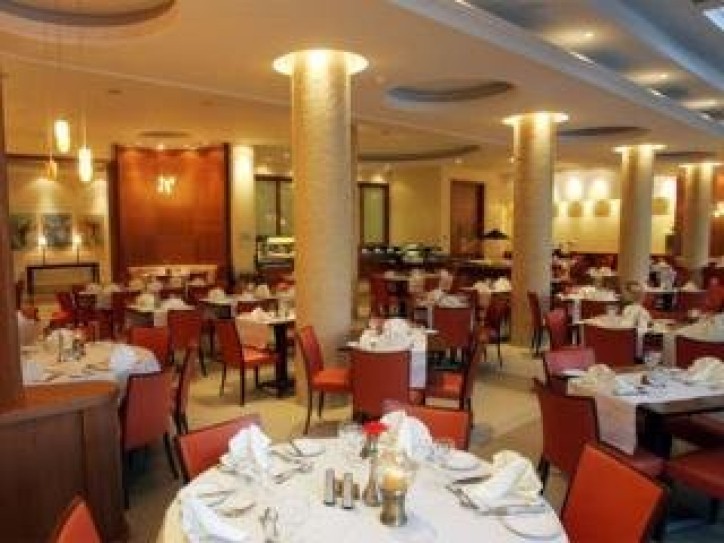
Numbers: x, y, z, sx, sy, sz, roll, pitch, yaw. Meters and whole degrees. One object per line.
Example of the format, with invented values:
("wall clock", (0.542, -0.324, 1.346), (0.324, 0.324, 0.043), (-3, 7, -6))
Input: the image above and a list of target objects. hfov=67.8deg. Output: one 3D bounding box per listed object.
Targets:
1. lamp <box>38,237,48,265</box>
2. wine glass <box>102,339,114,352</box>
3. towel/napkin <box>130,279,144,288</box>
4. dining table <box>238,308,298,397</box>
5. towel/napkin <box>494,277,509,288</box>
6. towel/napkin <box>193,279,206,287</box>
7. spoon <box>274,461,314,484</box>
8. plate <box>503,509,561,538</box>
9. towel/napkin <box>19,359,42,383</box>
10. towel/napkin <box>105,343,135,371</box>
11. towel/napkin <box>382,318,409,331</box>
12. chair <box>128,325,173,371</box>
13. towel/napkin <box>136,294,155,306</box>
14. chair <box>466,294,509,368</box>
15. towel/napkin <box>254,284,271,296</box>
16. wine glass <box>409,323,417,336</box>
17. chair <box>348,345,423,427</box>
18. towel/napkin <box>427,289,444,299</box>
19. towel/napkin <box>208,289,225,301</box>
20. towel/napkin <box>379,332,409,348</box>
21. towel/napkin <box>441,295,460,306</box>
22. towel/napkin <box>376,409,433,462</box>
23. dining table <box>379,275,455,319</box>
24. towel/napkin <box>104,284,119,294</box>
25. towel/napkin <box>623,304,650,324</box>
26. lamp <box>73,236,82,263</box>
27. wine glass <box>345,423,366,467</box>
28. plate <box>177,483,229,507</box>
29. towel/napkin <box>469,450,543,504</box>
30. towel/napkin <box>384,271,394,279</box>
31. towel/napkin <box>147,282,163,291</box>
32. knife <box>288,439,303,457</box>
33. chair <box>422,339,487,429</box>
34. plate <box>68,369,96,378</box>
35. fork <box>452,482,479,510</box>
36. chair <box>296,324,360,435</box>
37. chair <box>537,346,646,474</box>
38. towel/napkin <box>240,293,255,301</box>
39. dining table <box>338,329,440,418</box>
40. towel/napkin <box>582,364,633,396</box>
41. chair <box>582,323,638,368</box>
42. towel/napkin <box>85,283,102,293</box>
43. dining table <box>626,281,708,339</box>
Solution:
("lamp", (-8.594, -0.604, 14.529), (0.184, 0.726, 0.181), (-6, 7, -40))
("wine glass", (-2.620, 0.759, 5.547), (0.110, 0.159, 0.102), (0, 0, 1))
("towel/napkin", (-4.111, 0.234, 9.874), (0.223, 0.107, 0.278), (2, 3, -2))
("dining table", (-0.955, 0.965, 6.976), (1.003, 0.859, 0.978), (-7, 12, -40))
("towel/napkin", (2.473, 0.203, 9.551), (0.272, 0.162, 0.477), (-1, 3, 13))
("towel/napkin", (-3.007, 0.202, 9.896), (0.198, 0.043, 0.181), (3, 12, 3))
("spoon", (-0.393, 1.144, 3.106), (0.074, 0.031, 0.247), (8, 8, 42))
("plate", (0.864, 1.271, 2.713), (0.283, 0.067, 0.155), (-2, 3, -11))
("towel/napkin", (-2.644, 0.804, 4.358), (0.193, 0.168, 0.045), (-2, -9, 28))
("towel/napkin", (-2.122, 0.745, 4.741), (0.072, 0.197, 0.225), (-35, -22, 32))
("towel/napkin", (0.340, 0.556, 5.630), (0.170, 0.060, 0.166), (5, 7, 31))
("chair", (-2.164, 0.791, 5.583), (0.448, 0.546, 0.477), (0, 1, -10))
("towel/napkin", (-3.065, 0.405, 7.629), (0.211, 0.073, 0.183), (4, 13, -33))
("chair", (1.658, 0.817, 7.628), (0.668, 0.923, 0.606), (1, 7, -9))
("towel/napkin", (-1.562, 0.311, 8.512), (0.208, 0.090, 0.243), (4, 11, 3))
("wine glass", (0.529, 0.630, 5.815), (0.112, 0.151, 0.103), (-1, 3, -4))
("chair", (0.225, 1.008, 5.065), (0.698, 0.847, 0.629), (3, 9, 20))
("towel/napkin", (1.081, 0.317, 7.706), (0.146, 0.056, 0.161), (7, 19, 42))
("towel/napkin", (-2.278, 0.364, 8.487), (0.199, 0.098, 0.238), (1, 1, -8))
("towel/napkin", (0.308, 0.620, 5.132), (0.352, 0.183, 0.129), (0, -8, 3))
("towel/napkin", (1.175, 0.386, 7.136), (0.217, 0.134, 0.299), (-4, 4, -32))
("towel/napkin", (0.258, 0.942, 3.212), (0.277, 0.116, 0.290), (4, 15, 22))
("dining table", (0.839, 0.535, 10.825), (1.465, 0.628, 0.883), (5, 15, 17))
("towel/napkin", (-4.345, 0.301, 9.301), (0.242, 0.066, 0.218), (5, 2, -4))
("towel/napkin", (3.191, 0.485, 6.288), (0.244, 0.081, 0.232), (6, 20, 27))
("lamp", (-7.941, -0.647, 15.082), (0.195, 0.716, 0.367), (-5, 6, -27))
("wine glass", (-0.036, 1.018, 3.187), (0.173, 0.213, 0.143), (-1, -8, 6))
("plate", (-0.841, 1.187, 2.892), (0.188, 0.023, 0.178), (1, 4, -37))
("towel/napkin", (0.793, 1.110, 2.907), (0.342, 0.247, 0.126), (-13, -31, -14))
("towel/napkin", (0.569, 0.071, 11.411), (0.195, 0.161, 0.179), (-5, 11, -11))
("towel/napkin", (-3.666, 0.256, 9.539), (0.232, 0.091, 0.211), (9, 19, 15))
("knife", (-0.417, 1.076, 3.375), (0.035, 0.027, 0.290), (-2, 8, -17))
("chair", (0.875, 1.089, 5.319), (0.566, 0.671, 0.398), (3, 3, 17))
("plate", (-2.355, 0.858, 4.556), (0.195, 0.044, 0.176), (0, 3, 23))
("fork", (0.549, 1.205, 2.893), (0.087, 0.030, 0.300), (-4, 1, -6))
("chair", (-0.304, 1.095, 5.553), (0.792, 0.896, 0.709), (-1, 5, -14))
("chair", (1.919, 0.916, 4.500), (0.635, 0.557, 0.848), (16, -9, 14))
("towel/napkin", (-1.675, 0.374, 7.932), (0.145, 0.030, 0.140), (6, 10, 30))
("dining table", (0.212, 1.083, 5.051), (0.615, 0.880, 0.628), (0, 9, 0))
("towel/napkin", (1.885, 0.808, 4.102), (0.264, 0.092, 0.258), (-1, 2, -42))
("chair", (2.517, 0.712, 5.639), (0.441, 0.569, 0.521), (7, 13, 43))
("towel/napkin", (-4.591, 0.289, 9.251), (0.253, 0.084, 0.249), (3, 4, -4))
("dining table", (4.106, 0.507, 7.310), (0.746, 0.802, 0.724), (3, 8, 12))
